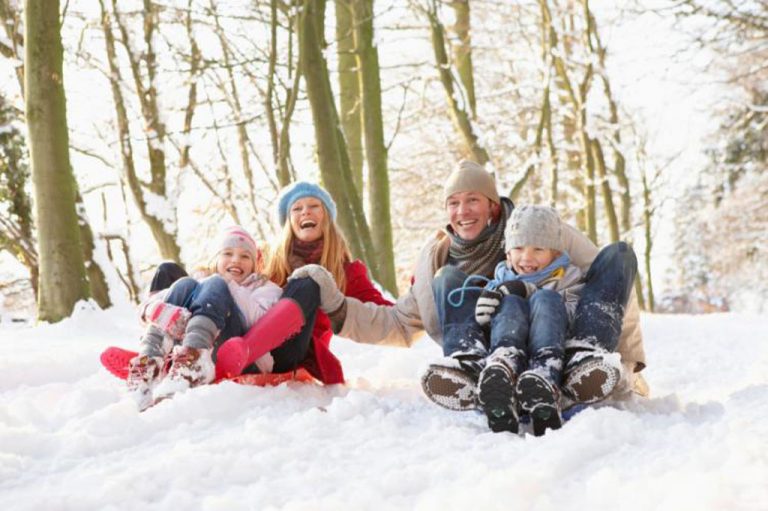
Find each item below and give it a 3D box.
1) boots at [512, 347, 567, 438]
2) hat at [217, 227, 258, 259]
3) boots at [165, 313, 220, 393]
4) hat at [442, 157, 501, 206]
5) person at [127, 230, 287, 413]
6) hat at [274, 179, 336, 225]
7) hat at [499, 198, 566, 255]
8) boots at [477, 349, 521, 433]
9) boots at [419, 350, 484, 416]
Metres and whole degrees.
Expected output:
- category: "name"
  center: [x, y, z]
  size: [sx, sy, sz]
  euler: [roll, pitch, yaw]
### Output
- category: "boots"
  center: [1.430, 1.218, 8.202]
  size: [0.464, 0.748, 0.326]
  euler: [-5, 5, 8]
- category: "hat"
  center: [-1.485, -0.153, 9.123]
  size: [0.235, 0.298, 0.332]
  euler: [1, 19, -4]
- category: "boots"
  center: [-1.771, 0.907, 8.602]
  size: [0.458, 0.616, 0.293]
  euler: [-16, -42, 36]
- category: "hat"
  center: [0.909, -0.771, 9.241]
  size: [0.470, 0.398, 0.414]
  euler: [-15, 10, -43]
- category: "person"
  center: [-1.719, 0.538, 8.972]
  size: [1.084, 1.136, 1.787]
  euler: [9, 20, 34]
- category: "hat"
  center: [-0.834, -0.573, 9.785]
  size: [0.508, 0.260, 0.613]
  euler: [-10, -41, -1]
- category: "hat"
  center: [1.420, -0.260, 8.640]
  size: [0.360, 0.441, 0.518]
  euler: [2, 10, 27]
- category: "boots"
  center: [1.066, 1.156, 8.217]
  size: [0.268, 0.833, 0.362]
  euler: [0, -2, 7]
- category: "boots"
  center: [0.654, 1.154, 8.344]
  size: [0.601, 0.390, 0.311]
  euler: [11, 3, 4]
